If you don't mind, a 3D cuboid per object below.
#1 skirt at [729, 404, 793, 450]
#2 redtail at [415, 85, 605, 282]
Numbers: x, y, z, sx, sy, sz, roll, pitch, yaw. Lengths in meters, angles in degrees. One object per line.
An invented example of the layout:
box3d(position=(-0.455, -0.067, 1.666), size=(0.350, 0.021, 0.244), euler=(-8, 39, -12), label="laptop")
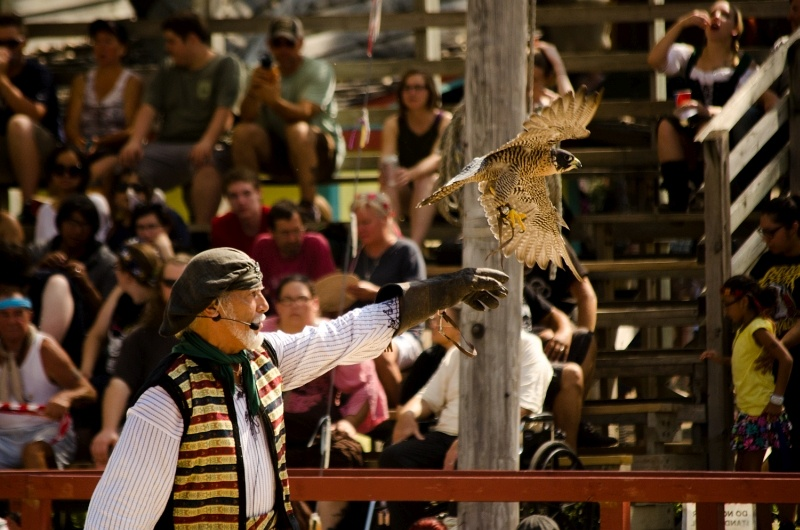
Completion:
box3d(position=(2.939, 1.344, 15.959), size=(0.475, 0.330, 0.146), euler=(1, 1, 9), label="skirt")
box3d(position=(0.914, -0.582, 14.219), size=(1.032, 1.288, 0.560), euler=(1, 1, 3), label="redtail")
